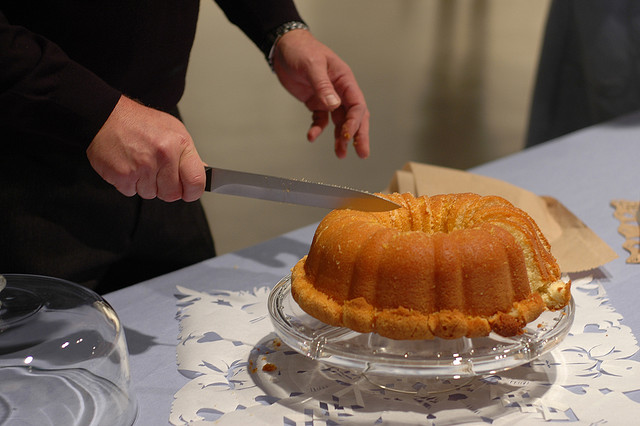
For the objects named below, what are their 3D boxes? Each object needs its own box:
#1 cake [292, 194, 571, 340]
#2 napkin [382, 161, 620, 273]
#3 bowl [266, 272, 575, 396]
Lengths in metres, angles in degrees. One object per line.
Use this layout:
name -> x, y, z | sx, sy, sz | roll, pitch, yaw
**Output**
cake -> 0.280, 0.155, 1.366 | 0.492, 0.171, 0.485 | -9, 5, -42
napkin -> 0.674, -0.026, 1.950 | 0.803, 0.327, 0.432 | 7, 24, 39
bowl -> 0.238, 0.243, 1.321 | 0.432, 0.117, 0.433 | 3, 3, 0
